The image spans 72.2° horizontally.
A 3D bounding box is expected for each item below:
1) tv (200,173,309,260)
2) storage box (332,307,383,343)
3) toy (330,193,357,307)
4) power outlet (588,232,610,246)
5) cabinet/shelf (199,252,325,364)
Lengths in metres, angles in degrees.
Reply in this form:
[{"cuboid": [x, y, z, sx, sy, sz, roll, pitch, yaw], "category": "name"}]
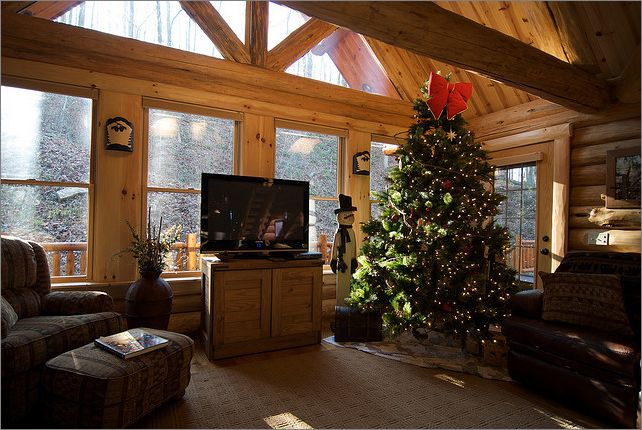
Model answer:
[{"cuboid": [-0.791, 0.033, 4.924, 1.173, 0.695, 0.039, 1, -4, -23], "category": "tv"}, {"cuboid": [0.414, 1.269, 5.005, 0.657, 0.388, 0.367, 1, 3, 0], "category": "storage box"}, {"cuboid": [0.262, 0.413, 5.260, 0.304, 1.314, 0.272, 0, -1, 12], "category": "toy"}, {"cuboid": [3.196, 0.270, 5.082, 0.075, 0.131, 0.222, 3, -2, -42], "category": "power outlet"}, {"cuboid": [-0.703, 0.988, 5.211, 2.005, 1.241, 0.971, 1, -6, -20], "category": "cabinet/shelf"}]
